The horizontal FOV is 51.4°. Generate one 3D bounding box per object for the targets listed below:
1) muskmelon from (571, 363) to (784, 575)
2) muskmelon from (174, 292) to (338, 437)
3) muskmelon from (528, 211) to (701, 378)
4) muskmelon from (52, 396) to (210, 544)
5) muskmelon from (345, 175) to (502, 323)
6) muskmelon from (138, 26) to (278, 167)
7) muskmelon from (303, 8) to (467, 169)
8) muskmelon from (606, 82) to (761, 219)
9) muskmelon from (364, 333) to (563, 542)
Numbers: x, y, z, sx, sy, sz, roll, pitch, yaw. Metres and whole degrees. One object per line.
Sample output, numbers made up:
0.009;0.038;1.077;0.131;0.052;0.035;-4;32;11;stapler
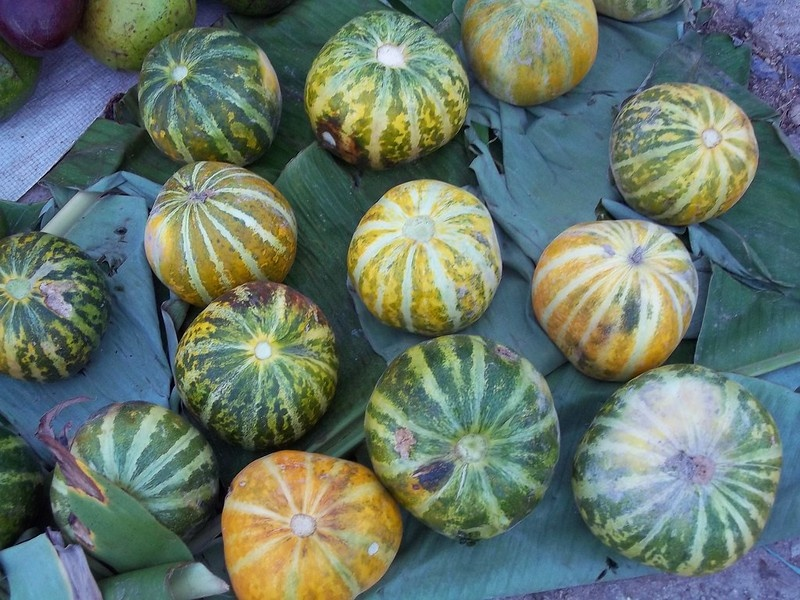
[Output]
0.948;0.570;2.830;0.646;0.381;0.603;37;62;17;muskmelon
-0.500;0.228;2.947;0.569;0.357;0.473;-23;63;-18;muskmelon
0.737;0.038;3.148;0.520;0.527;0.586;31;79;2;muskmelon
-0.902;0.653;2.970;0.422;0.444;0.503;15;83;-4;muskmelon
0.150;-0.108;3.107;0.496;0.574;0.289;7;31;-19;muskmelon
-0.728;-0.727;3.263;0.464;0.483;0.550;-2;79;-2;muskmelon
-0.059;-0.801;3.161;0.501;0.307;0.648;2;85;-3;muskmelon
1.084;-0.570;3.245;0.473;0.295;0.542;-11;95;14;muskmelon
0.220;0.400;2.906;0.639;0.821;0.389;0;22;3;muskmelon
